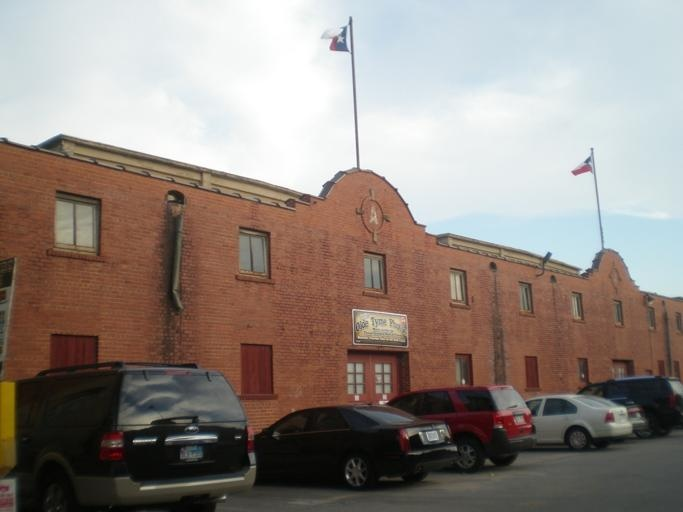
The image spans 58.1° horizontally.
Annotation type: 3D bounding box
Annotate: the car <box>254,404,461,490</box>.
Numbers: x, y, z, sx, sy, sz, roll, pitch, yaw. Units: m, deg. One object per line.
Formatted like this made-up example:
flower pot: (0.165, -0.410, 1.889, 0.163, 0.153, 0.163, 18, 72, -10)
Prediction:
car: (0.200, 3.928, 12.710, 3.711, 1.627, 1.135, -12, -19, 26)

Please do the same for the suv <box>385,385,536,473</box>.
suv: (2.772, 4.059, 15.141, 3.539, 1.448, 1.886, -1, -6, 36)
